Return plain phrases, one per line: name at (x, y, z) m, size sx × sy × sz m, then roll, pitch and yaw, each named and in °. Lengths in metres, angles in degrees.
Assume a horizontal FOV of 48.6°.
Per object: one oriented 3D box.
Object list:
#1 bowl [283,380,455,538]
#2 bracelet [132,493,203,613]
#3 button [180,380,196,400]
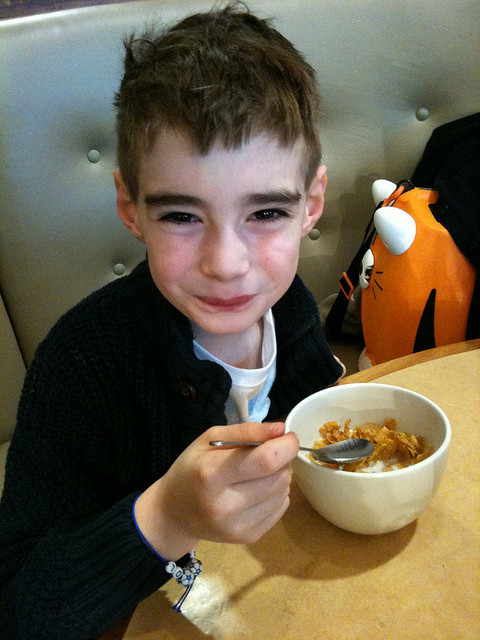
bowl at (0.142, 0.144, 0.576) m, size 0.178 × 0.106 × 0.171 m, roll -3°, pitch 19°, yaw 1°
bracelet at (-0.069, 0.245, 0.524) m, size 0.040 × 0.011 × 0.069 m, roll -18°, pitch 60°, yaw -45°
button at (-0.070, 0.094, 0.714) m, size 0.019 × 0.027 × 0.007 m, roll -26°, pitch 0°, yaw 34°
